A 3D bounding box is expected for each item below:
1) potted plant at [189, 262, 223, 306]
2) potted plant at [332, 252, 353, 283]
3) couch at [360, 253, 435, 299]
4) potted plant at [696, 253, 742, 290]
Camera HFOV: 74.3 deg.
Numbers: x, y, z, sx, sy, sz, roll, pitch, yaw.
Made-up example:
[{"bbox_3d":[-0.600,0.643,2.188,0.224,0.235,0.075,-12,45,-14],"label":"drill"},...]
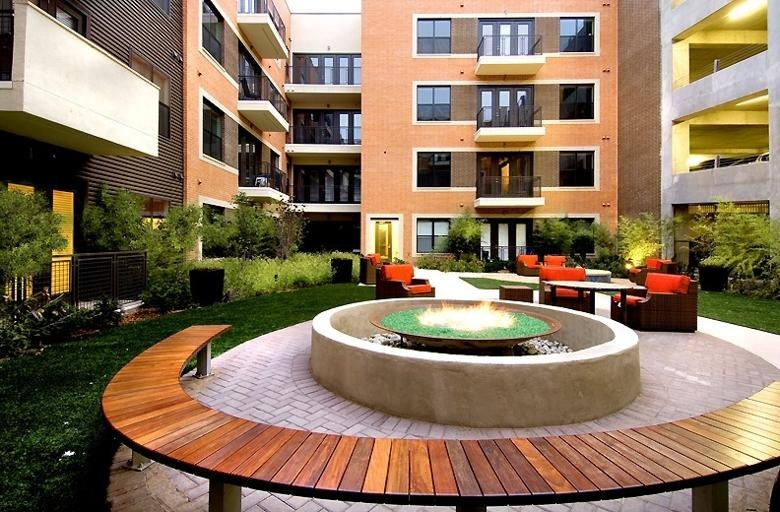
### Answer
[{"bbox_3d":[-5.095,0.827,14.126,0.919,1.050,0.934,3,-3,-14],"label":"potted plant"},{"bbox_3d":[-1.812,0.582,19.355,0.790,0.850,0.578,-2,13,-10],"label":"potted plant"},{"bbox_3d":[0.315,0.567,14.487,1.211,1.395,1.629,4,-6,-43],"label":"couch"},{"bbox_3d":[11.213,0.599,17.743,1.094,1.369,0.975,-1,-5,23],"label":"potted plant"}]
